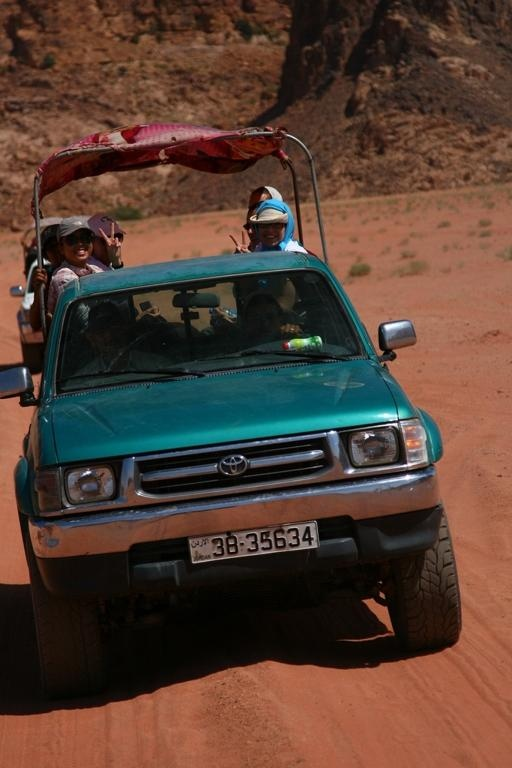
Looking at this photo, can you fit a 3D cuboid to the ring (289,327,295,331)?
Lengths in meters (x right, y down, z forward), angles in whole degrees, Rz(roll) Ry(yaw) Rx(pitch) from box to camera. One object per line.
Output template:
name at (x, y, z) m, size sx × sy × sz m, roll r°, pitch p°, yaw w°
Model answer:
ring at (0.202, -0.298, 3.996) m, size 0.023 × 0.006 × 0.021 m, roll -5°, pitch 46°, yaw -2°

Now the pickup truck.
pickup truck at (-0.251, 0.261, 4.162) m, size 1.673 × 2.670 × 1.226 m, roll -9°, pitch 86°, yaw -7°

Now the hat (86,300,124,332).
hat at (-0.822, -0.374, 4.040) m, size 0.157 × 0.160 × 0.171 m, roll -2°, pitch 72°, yaw -7°

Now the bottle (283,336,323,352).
bottle at (0.243, -0.208, 3.806) m, size 0.186 × 0.086 × 0.066 m, roll -3°, pitch 77°, yaw -13°

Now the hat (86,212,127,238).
hat at (-1.439, -1.516, 7.090) m, size 0.417 × 0.159 × 0.501 m, roll -2°, pitch 15°, yaw -18°
